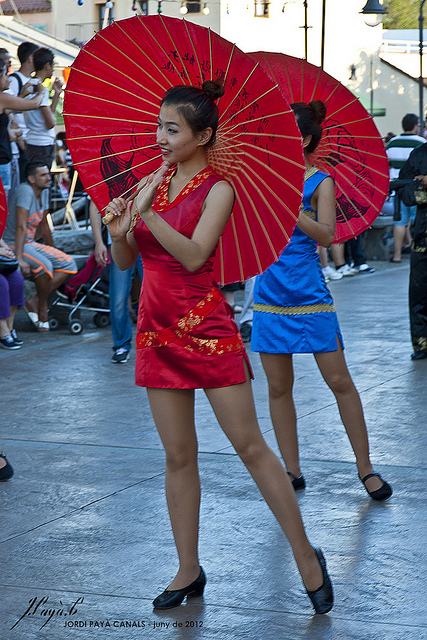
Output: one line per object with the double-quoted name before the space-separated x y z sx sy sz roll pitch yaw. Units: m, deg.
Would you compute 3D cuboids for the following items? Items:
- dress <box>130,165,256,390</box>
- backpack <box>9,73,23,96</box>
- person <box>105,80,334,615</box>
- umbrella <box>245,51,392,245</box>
"dress" -0.094 -0.139 1.740 0.331 0.702 0.336 0 1 34
"backpack" -3.000 -3.585 8.826 0.133 0.418 0.328 -1 1 -31
"person" -0.032 0.116 1.800 0.678 1.632 0.489 -2 1 -36
"umbrella" 0.760 -1.001 3.419 0.635 1.014 1.025 1 20 4
